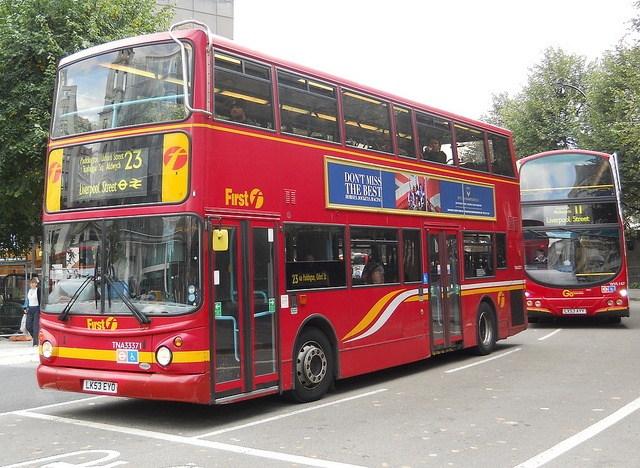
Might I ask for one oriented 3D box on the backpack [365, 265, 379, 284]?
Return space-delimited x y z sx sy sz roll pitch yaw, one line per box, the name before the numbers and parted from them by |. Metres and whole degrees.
backpack | 1.020 0.802 11.177 0.315 0.456 0.238 3 4 17
